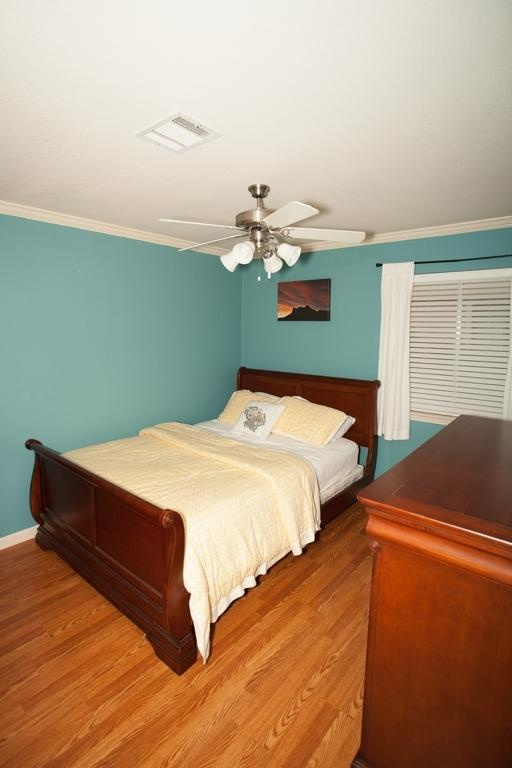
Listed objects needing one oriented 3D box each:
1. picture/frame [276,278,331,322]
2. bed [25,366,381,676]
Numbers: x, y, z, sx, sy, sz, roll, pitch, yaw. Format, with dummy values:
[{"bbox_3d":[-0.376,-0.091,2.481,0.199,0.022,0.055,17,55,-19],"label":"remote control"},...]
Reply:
[{"bbox_3d":[0.413,-0.730,4.440,0.070,0.364,0.581,-10,15,-40],"label":"picture/frame"},{"bbox_3d":[-0.206,0.533,3.362,1.424,1.062,2.024,13,18,40],"label":"bed"}]
